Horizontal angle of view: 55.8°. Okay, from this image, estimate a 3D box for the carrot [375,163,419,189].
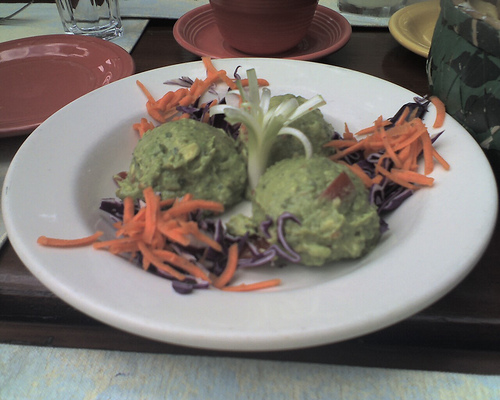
[{"bbox_3d":[0.370,-0.055,1.207,0.029,0.034,0.124,-17,46,-28],"label":"carrot"}]

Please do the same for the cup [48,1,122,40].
[{"bbox_3d":[-0.649,-0.752,1.929,0.237,0.124,0.199,-19,59,-13],"label":"cup"}]

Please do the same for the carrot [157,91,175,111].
[{"bbox_3d":[-0.249,-0.292,1.385,0.023,0.021,0.080,12,52,33],"label":"carrot"}]

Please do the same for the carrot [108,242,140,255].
[{"bbox_3d":[-0.279,0.104,1.049,0.020,0.092,0.024,1,96,33],"label":"carrot"}]

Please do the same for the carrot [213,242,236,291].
[{"bbox_3d":[-0.052,0.155,1.108,0.037,0.029,0.110,29,46,-11],"label":"carrot"}]

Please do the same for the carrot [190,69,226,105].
[{"bbox_3d":[-0.133,-0.346,1.446,0.021,0.040,0.154,39,85,-4],"label":"carrot"}]

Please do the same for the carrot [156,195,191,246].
[{"bbox_3d":[-0.179,0.052,1.098,0.128,0.051,0.027,36,104,24],"label":"carrot"}]

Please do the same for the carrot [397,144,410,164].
[{"bbox_3d":[0.398,-0.121,1.224,0.032,0.010,0.040,5,70,37],"label":"carrot"}]

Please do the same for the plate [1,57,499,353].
[{"bbox_3d":[-0.025,0.007,1.144,1.130,0.209,0.760,12,57,7],"label":"plate"}]

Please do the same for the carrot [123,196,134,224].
[{"bbox_3d":[-0.288,0.022,1.119,0.019,0.020,0.070,10,59,-6],"label":"carrot"}]

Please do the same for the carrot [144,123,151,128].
[{"bbox_3d":[-0.296,-0.214,1.352,0.017,0.012,0.016,-3,82,16],"label":"carrot"}]

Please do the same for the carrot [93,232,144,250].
[{"bbox_3d":[-0.289,0.091,1.046,0.113,0.030,0.019,-16,99,-45],"label":"carrot"}]

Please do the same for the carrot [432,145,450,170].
[{"bbox_3d":[0.470,-0.100,1.161,0.015,0.009,0.062,10,36,-15],"label":"carrot"}]

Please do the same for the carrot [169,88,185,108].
[{"bbox_3d":[-0.216,-0.308,1.405,0.032,0.019,0.060,32,79,4],"label":"carrot"}]

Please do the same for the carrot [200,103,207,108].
[{"bbox_3d":[-0.142,-0.286,1.431,0.016,0.004,0.014,-3,38,0],"label":"carrot"}]

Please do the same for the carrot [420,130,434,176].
[{"bbox_3d":[0.446,-0.113,1.189,0.010,0.022,0.105,-1,86,-37],"label":"carrot"}]

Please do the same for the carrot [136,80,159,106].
[{"bbox_3d":[-0.307,-0.315,1.401,0.109,0.019,0.012,47,46,11],"label":"carrot"}]

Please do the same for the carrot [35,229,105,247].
[{"bbox_3d":[-0.392,0.076,1.024,0.123,0.040,0.031,-4,89,-16],"label":"carrot"}]

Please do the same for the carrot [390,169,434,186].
[{"bbox_3d":[0.401,-0.055,1.172,0.015,0.032,0.105,-8,21,-44],"label":"carrot"}]

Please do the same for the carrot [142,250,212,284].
[{"bbox_3d":[-0.170,0.153,1.062,0.116,0.024,0.034,29,91,4],"label":"carrot"}]
